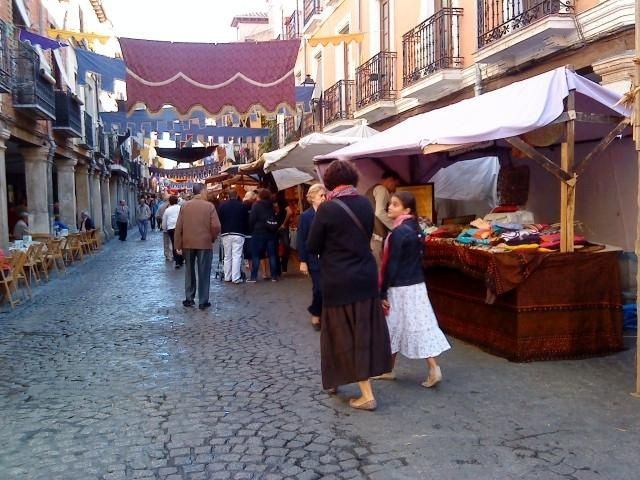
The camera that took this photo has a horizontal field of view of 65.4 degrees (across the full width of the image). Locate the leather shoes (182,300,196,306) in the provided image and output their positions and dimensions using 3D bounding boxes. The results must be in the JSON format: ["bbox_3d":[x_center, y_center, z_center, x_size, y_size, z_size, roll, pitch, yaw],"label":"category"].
[{"bbox_3d":[-2.379,1.155,8.934,0.144,0.075,0.115,5,-3,-4],"label":"leather shoes"}]

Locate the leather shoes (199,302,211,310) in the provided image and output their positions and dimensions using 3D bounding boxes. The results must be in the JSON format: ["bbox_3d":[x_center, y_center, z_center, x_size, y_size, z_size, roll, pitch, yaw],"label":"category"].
[{"bbox_3d":[-2.014,1.163,8.717,0.234,0.105,0.147,-5,5,-39],"label":"leather shoes"}]

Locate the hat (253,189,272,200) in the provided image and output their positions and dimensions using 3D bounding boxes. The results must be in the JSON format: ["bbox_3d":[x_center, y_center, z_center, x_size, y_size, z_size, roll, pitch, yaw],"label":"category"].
[{"bbox_3d":[-1.378,-1.026,11.644,0.303,0.401,0.399,5,11,7],"label":"hat"}]

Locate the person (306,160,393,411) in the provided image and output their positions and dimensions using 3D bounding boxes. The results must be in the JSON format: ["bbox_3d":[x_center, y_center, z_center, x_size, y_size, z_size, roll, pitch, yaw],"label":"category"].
[{"bbox_3d":[0.254,0.436,4.411,0.707,1.774,0.269,-1,4,9],"label":"person"}]

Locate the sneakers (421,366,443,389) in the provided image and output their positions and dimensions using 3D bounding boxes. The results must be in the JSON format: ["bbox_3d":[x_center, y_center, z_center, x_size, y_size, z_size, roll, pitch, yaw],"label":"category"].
[{"bbox_3d":[1.064,1.362,4.948,0.122,0.211,0.274,-14,-2,-36],"label":"sneakers"}]

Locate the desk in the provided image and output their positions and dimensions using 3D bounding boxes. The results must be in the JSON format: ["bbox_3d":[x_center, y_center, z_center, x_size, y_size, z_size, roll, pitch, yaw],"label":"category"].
[{"bbox_3d":[2.538,0.659,5.951,1.437,0.969,1.971,-7,9,-17],"label":"desk"}]

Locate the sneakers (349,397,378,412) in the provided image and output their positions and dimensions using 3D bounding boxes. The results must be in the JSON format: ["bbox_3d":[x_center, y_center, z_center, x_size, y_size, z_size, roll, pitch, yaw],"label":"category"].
[{"bbox_3d":[0.376,1.429,4.425,0.259,0.100,0.156,0,4,22],"label":"sneakers"}]
